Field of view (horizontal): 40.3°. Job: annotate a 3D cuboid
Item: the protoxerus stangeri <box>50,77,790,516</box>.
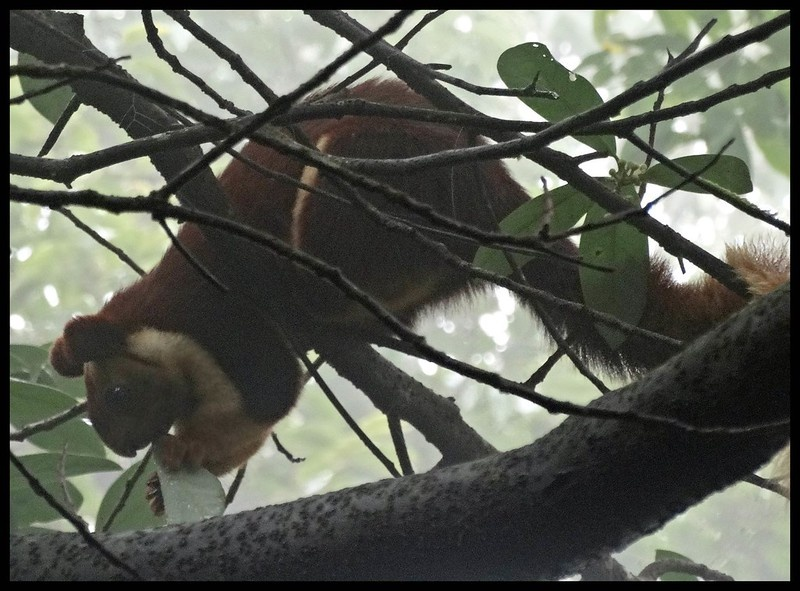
[{"bbox_3d":[0.040,0.000,1.913,1.470,0.364,0.580,-20,-77,5],"label":"protoxerus stangeri"}]
